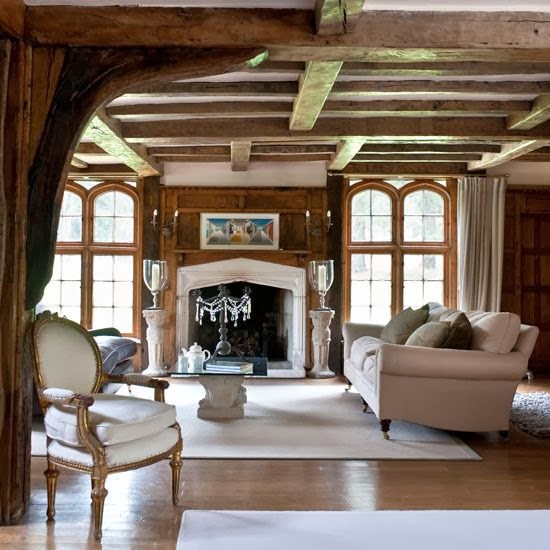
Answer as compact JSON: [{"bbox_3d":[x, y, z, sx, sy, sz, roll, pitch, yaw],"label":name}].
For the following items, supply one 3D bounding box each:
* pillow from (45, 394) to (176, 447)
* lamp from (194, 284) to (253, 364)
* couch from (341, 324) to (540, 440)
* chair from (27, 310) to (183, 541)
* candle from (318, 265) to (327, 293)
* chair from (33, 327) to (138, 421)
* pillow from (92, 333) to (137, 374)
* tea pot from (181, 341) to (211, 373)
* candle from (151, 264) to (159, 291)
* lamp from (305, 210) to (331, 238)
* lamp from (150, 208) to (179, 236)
[{"bbox_3d":[-0.911,0.776,3.520,0.374,0.089,0.384,3,1,42],"label":"pillow"},{"bbox_3d":[-0.530,0.509,6.878,0.593,0.770,0.601,-5,5,-28],"label":"lamp"},{"bbox_3d":[1.296,0.730,5.796,1.290,0.767,1.969,0,2,-1],"label":"couch"},{"bbox_3d":[-1.010,0.807,3.688,0.812,1.108,0.758,1,0,17],"label":"chair"},{"bbox_3d":[0.549,0.042,7.406,0.106,0.324,0.145,1,2,4],"label":"candle"},{"bbox_3d":[-1.203,0.628,4.023,0.833,0.425,1.319,-1,-5,-11],"label":"chair"},{"bbox_3d":[-1.398,0.695,5.665,0.158,0.457,0.469,-8,-15,13],"label":"pillow"},{"bbox_3d":[-0.677,0.741,5.644,0.303,0.309,0.227,3,-9,-11],"label":"tea pot"},{"bbox_3d":[-1.367,0.023,7.371,0.105,0.357,0.126,0,3,-9],"label":"candle"},{"bbox_3d":[0.521,-0.621,7.857,0.354,0.324,0.094,0,-1,-3],"label":"lamp"},{"bbox_3d":[-1.333,-0.586,7.877,0.460,0.438,0.299,1,0,5],"label":"lamp"}]
